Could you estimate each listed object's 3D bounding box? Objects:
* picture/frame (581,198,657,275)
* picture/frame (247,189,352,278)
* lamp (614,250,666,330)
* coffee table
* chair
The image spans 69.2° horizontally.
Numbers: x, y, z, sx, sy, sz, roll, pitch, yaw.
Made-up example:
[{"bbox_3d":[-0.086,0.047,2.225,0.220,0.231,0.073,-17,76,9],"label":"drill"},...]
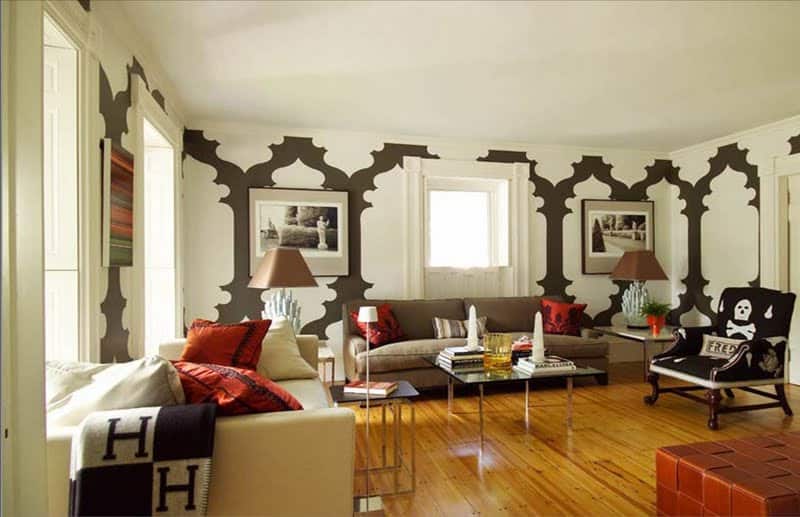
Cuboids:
[{"bbox_3d":[2.626,-0.256,7.128,1.010,0.976,0.035,1,2,-13],"label":"picture/frame"},{"bbox_3d":[-1.116,-0.272,6.167,1.049,0.851,0.034,1,-5,-16],"label":"picture/frame"},{"bbox_3d":[2.821,0.368,7.148,0.817,1.036,0.940,0,-1,22],"label":"lamp"},{"bbox_3d":[0.912,1.146,5.358,1.373,0.592,1.346,-2,8,-14],"label":"coffee table"},{"bbox_3d":[2.998,0.869,5.330,1.174,1.107,0.909,-5,10,-27],"label":"chair"}]
